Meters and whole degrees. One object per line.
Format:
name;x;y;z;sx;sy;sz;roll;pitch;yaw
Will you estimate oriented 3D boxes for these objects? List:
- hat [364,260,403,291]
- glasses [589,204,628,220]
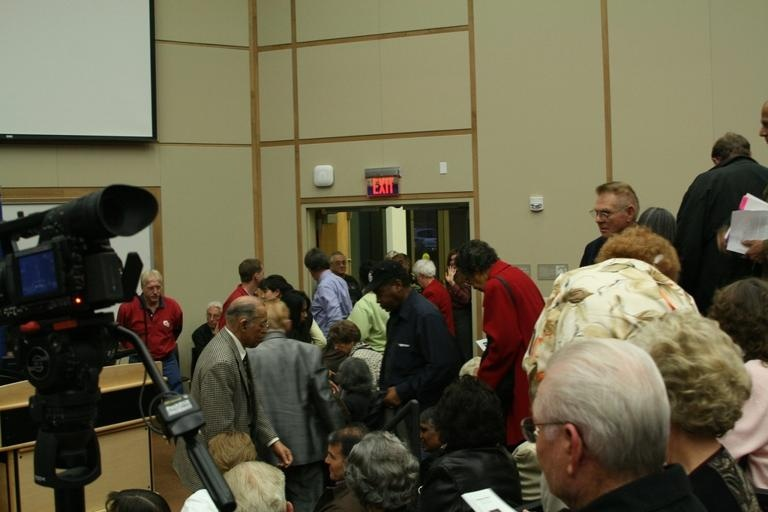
hat;0.019;0.135;5.990;0.252;0.161;0.201;-13;11;7
glasses;1.627;-0.302;5.275;0.217;0.072;0.059;0;6;31
